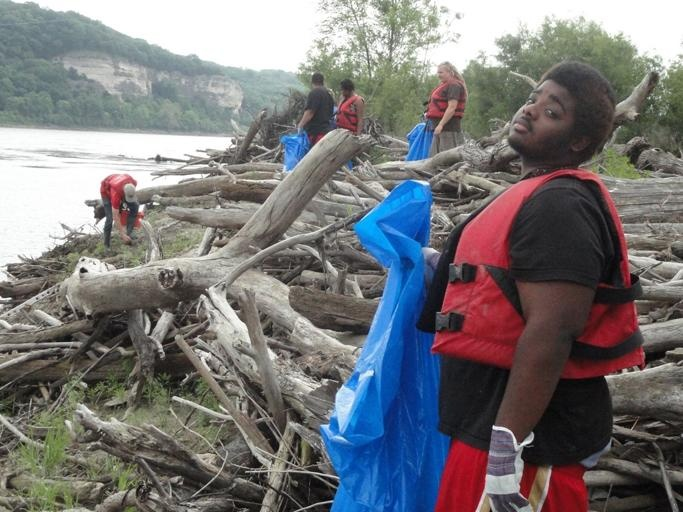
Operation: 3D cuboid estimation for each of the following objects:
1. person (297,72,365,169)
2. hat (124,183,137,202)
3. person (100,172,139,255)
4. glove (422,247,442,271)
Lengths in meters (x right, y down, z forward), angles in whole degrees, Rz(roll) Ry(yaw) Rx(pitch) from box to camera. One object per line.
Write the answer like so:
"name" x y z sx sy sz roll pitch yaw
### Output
"person" -0.171 -2.315 10.059 1.083 1.524 0.705 0 15 -23
"hat" -3.519 -1.051 9.818 0.183 0.335 0.353 1 14 -20
"person" -3.894 -0.727 10.451 0.666 1.493 1.560 1 14 -20
"glove" 0.422 0.007 2.776 0.091 0.093 0.031 22 18 30
